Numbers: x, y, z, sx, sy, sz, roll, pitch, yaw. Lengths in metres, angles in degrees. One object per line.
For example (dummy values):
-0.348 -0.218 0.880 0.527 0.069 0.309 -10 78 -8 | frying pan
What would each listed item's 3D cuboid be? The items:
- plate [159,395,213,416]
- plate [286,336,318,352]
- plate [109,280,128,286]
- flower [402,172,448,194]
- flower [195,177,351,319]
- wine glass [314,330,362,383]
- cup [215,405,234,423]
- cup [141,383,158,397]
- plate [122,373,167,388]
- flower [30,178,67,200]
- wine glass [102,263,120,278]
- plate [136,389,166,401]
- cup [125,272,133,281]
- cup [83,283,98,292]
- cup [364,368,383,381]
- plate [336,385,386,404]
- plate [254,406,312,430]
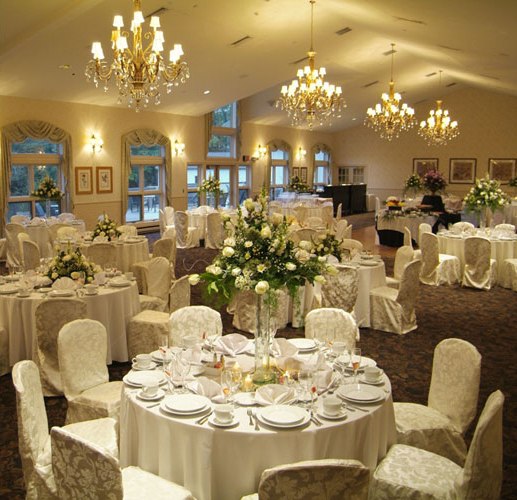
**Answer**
-0.357 0.749 2.097 0.258 0.031 0.209 3 9 10 | plate
0.310 0.645 2.933 0.199 0.041 0.183 1 9 3 | plate
-1.515 0.361 4.620 0.205 0.051 0.113 2 9 7 | plate
6.862 -2.707 17.326 1.219 1.071 1.304 5 9 44 | flower
0.021 -0.001 2.387 0.800 0.619 0.481 -1 9 -11 | flower
0.526 0.659 2.706 0.163 0.080 0.285 -3 7 -17 | wine glass
-0.154 0.742 1.947 0.087 0.082 0.081 1 9 0 | cup
-0.549 0.714 2.185 0.053 0.048 0.062 0 -4 -18 | cup
-0.642 0.714 2.415 0.226 0.033 0.216 -2 10 -18 | plate
-5.332 -1.426 10.844 0.604 0.784 0.634 1 1 -5 | flower
-1.879 0.249 5.395 0.114 0.127 0.160 2 7 2 | wine glass
-0.554 0.730 2.200 0.138 0.053 0.112 -2 9 -17 | plate
-1.482 0.295 4.863 0.080 0.078 0.076 -6 -1 0 | cup
-1.708 0.392 4.359 0.084 0.050 0.087 -1 11 0 | cup
0.652 0.692 2.424 0.059 0.066 0.082 -2 -1 1 | cup
0.544 0.747 2.242 0.262 0.031 0.202 2 9 7 | plate
0.114 0.768 1.985 0.255 0.038 0.190 3 9 12 | plate
